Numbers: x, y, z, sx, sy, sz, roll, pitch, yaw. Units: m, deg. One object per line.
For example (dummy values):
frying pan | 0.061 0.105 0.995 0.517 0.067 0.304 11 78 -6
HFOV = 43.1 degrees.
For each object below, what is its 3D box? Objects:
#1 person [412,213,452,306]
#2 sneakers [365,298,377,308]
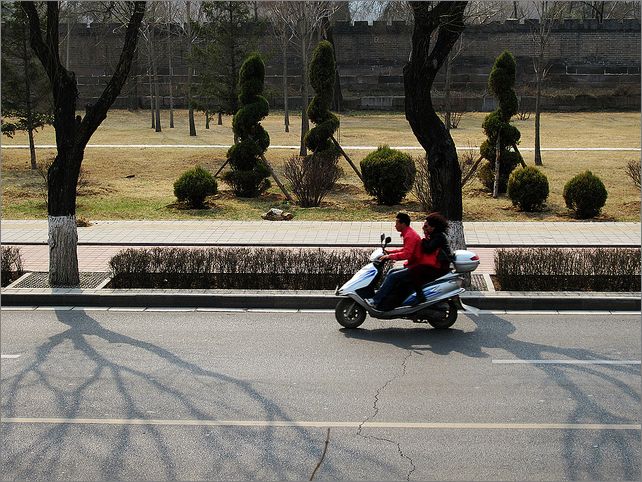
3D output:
person | 1.698 0.268 12.292 0.524 1.304 0.697 5 14 21
sneakers | 0.761 0.927 12.316 0.204 0.091 0.081 30 -4 -2
